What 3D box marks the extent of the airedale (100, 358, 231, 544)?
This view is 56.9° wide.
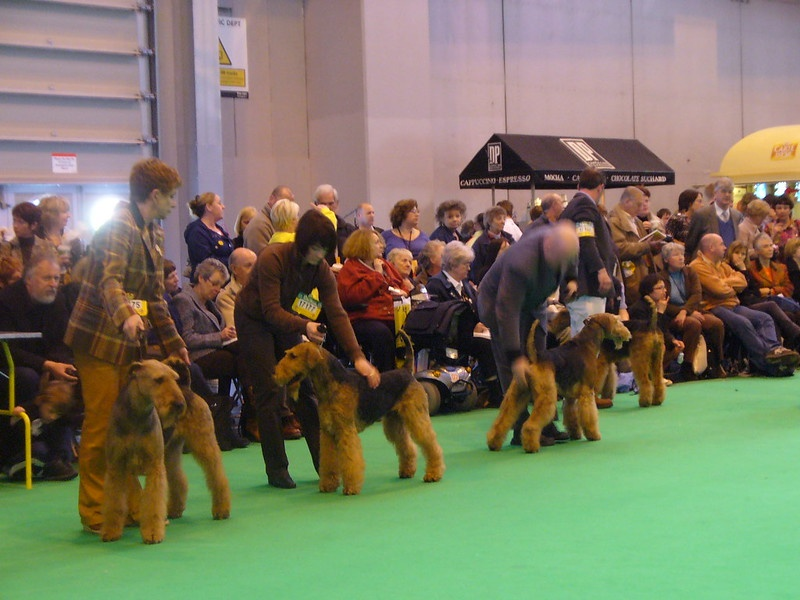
[{"bbox_3d":[-1.497,0.886,4.504,0.664,1.078,0.653,-1,3,10],"label":"airedale"}]

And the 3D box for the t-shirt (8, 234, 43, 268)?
[{"bbox_3d":[-3.696,-0.482,7.214,0.240,0.375,0.123,-3,-11,-16],"label":"t-shirt"}]

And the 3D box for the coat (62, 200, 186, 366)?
[{"bbox_3d":[-1.786,-0.112,4.725,0.550,1.015,0.530,-1,3,21],"label":"coat"}]

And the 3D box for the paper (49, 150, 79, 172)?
[{"bbox_3d":[-5.045,-2.079,10.941,0.259,0.401,0.037,12,-27,-22],"label":"paper"}]
